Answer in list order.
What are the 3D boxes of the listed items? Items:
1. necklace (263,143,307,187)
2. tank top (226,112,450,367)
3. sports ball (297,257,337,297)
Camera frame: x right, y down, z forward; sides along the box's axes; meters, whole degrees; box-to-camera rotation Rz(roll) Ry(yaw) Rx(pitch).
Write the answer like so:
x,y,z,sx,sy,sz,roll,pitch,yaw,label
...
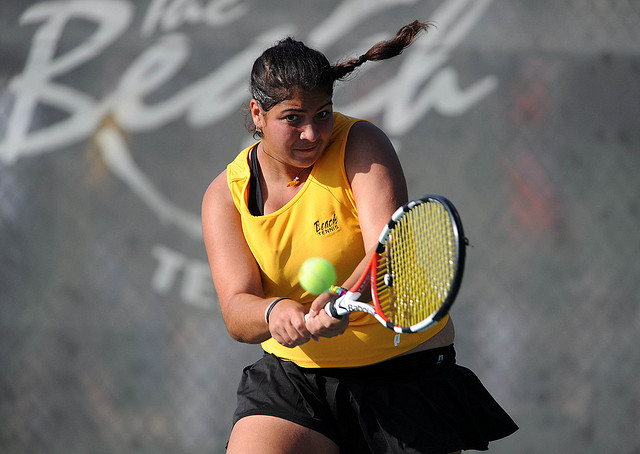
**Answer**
x,y,z,sx,sy,sz,roll,pitch,yaw,label
-0.179,-0.337,5.689,0.078,0.178,0.125,-50,-4,35,necklace
0.001,0.007,5.912,0.970,1.422,0.818,-17,15,5,tank top
-0.009,0.260,5.568,0.158,0.224,0.161,-1,4,0,sports ball
